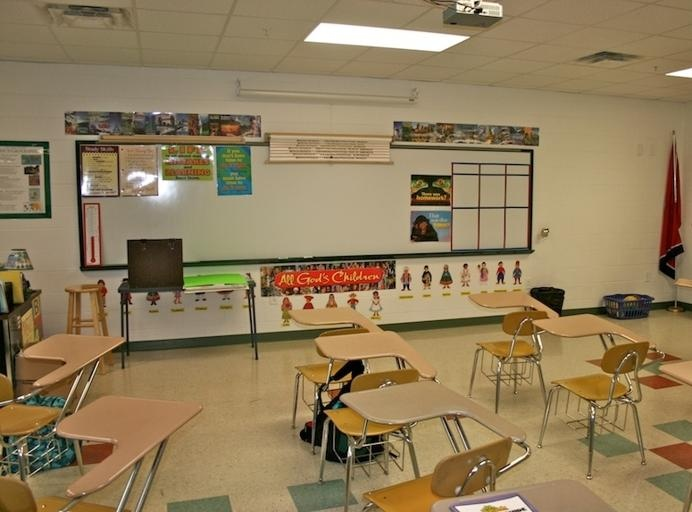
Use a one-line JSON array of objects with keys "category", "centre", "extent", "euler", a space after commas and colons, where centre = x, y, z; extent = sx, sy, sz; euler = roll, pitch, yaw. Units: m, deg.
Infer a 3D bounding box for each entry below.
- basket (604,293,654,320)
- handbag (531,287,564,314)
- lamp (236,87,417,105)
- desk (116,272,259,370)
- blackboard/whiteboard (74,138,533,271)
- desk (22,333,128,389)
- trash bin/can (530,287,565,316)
[{"category": "basket", "centre": [4.550, 0.795, 8.603], "extent": [0.654, 0.290, 0.425], "euler": [0, -1, -2]}, {"category": "handbag", "centre": [2.985, 0.603, 8.116], "extent": [0.554, 0.499, 0.466], "euler": [2, 4, 24]}, {"category": "lamp", "centre": [-0.173, -2.194, 7.200], "extent": [2.546, 0.225, 0.115], "euler": [-2, 7, -15]}, {"category": "desk", "centre": [-2.060, 0.810, 6.701], "extent": [1.153, 0.699, 0.395], "euler": [-3, 11, -20]}, {"category": "blackboard/whiteboard", "centre": [-0.129, -0.732, 7.358], "extent": [6.061, 1.556, 0.205], "euler": [-2, 7, -14]}, {"category": "desk", "centre": [-2.020, 0.707, 3.736], "extent": [0.598, 0.225, 0.631], "euler": [2, 7, 20]}, {"category": "trash bin/can", "centre": [3.055, 0.603, 8.050], "extent": [0.571, 0.518, 0.500], "euler": [2, 3, 29]}]
